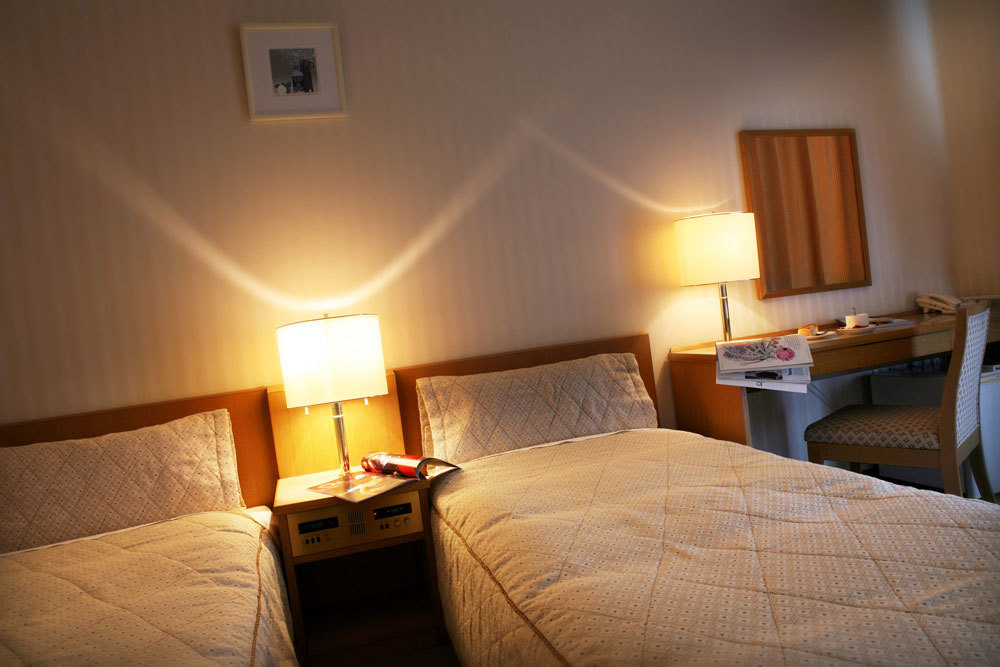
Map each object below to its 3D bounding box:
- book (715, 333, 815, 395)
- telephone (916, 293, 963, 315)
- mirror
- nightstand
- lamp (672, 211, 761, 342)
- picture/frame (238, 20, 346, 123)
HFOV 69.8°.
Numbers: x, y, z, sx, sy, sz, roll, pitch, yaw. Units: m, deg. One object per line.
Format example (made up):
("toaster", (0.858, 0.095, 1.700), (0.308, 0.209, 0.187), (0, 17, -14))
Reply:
("book", (1.245, 0.127, 3.374), (0.495, 0.195, 0.455), (-8, 15, -6))
("telephone", (2.482, -0.169, 4.066), (0.183, 0.060, 0.174), (-4, 7, -34))
("mirror", (1.683, -0.673, 4.027), (0.994, 1.036, 0.054), (-8, 4, -18))
("nightstand", (-0.626, 0.924, 3.047), (0.627, 0.518, 0.435), (-6, -4, -21))
("lamp", (1.134, -0.257, 3.821), (0.353, 0.554, 0.351), (-19, 14, 44))
("picture/frame", (-0.979, -1.210, 3.290), (0.525, 0.439, 0.035), (-5, -1, -18))
